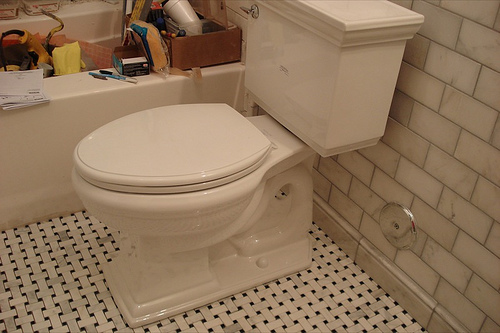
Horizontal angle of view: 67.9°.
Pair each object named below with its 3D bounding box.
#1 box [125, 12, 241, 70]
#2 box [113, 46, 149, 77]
[{"bbox_3d":[-0.346,-0.681,1.833,0.552,0.179,0.369,-15,39,-25],"label":"box"},{"bbox_3d":[-0.519,-0.459,1.626,0.134,0.111,0.180,-12,44,-22],"label":"box"}]
